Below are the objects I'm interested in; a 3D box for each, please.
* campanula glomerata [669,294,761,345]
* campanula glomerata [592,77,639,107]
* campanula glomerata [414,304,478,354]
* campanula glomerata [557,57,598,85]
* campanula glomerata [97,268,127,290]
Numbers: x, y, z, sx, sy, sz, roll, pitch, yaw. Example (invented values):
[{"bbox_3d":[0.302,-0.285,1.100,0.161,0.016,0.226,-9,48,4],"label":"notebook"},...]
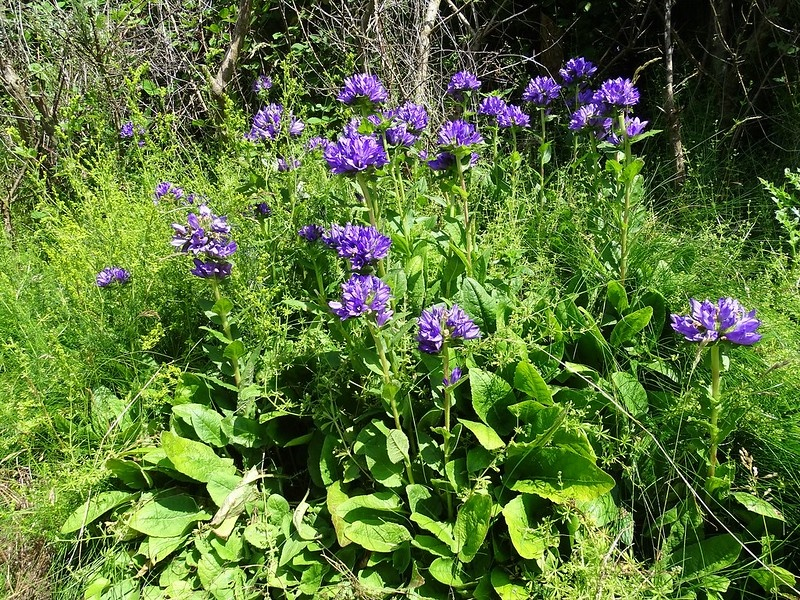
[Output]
[{"bbox_3d":[0.956,0.071,1.998,0.233,0.163,0.164,-6,26,4],"label":"campanula glomerata"},{"bbox_3d":[0.818,-0.771,2.460,0.176,0.117,0.137,-9,27,-2],"label":"campanula glomerata"},{"bbox_3d":[0.139,0.087,2.038,0.151,0.115,0.163,1,35,6],"label":"campanula glomerata"},{"bbox_3d":[0.789,-1.018,2.901,0.137,0.119,0.195,2,29,19],"label":"campanula glomerata"},{"bbox_3d":[-1.169,-0.091,2.665,0.082,0.047,0.088,5,22,20],"label":"campanula glomerata"}]
